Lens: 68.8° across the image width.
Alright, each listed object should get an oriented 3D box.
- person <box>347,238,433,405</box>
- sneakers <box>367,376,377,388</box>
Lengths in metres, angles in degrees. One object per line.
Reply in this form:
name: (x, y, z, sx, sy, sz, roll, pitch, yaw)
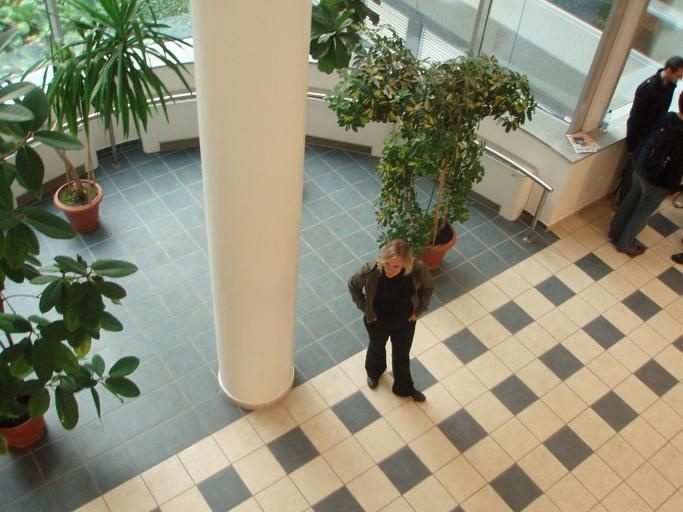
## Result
person: (0.431, 0.542, 4.285, 0.714, 1.710, 0.466, 11, 45, 13)
sneakers: (0.294, 1.209, 4.741, 0.062, 0.048, 0.116, -5, 78, 2)
